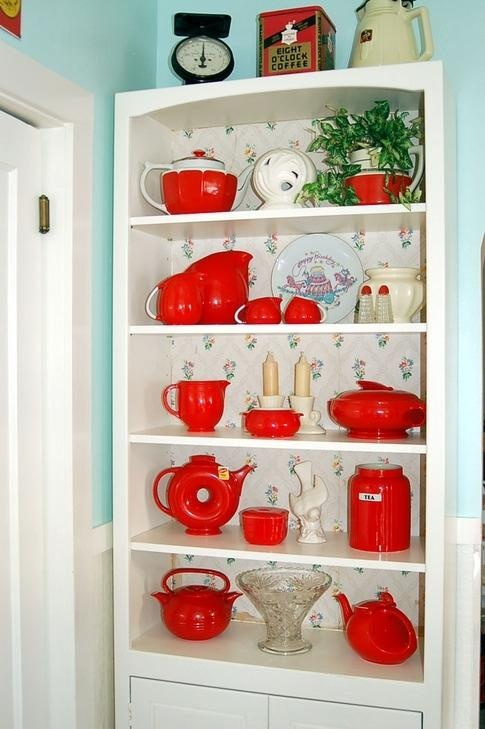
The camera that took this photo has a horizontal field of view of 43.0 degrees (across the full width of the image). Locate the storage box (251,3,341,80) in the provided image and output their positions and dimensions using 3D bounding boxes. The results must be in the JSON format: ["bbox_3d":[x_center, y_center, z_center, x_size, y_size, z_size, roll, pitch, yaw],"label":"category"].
[{"bbox_3d":[0.127,-0.720,1.484,0.175,0.181,0.182,0,-1,25],"label":"storage box"}]

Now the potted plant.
[{"bbox_3d":[0.257,-0.426,1.391,0.252,0.206,0.285,-1,5,-24],"label":"potted plant"}]
